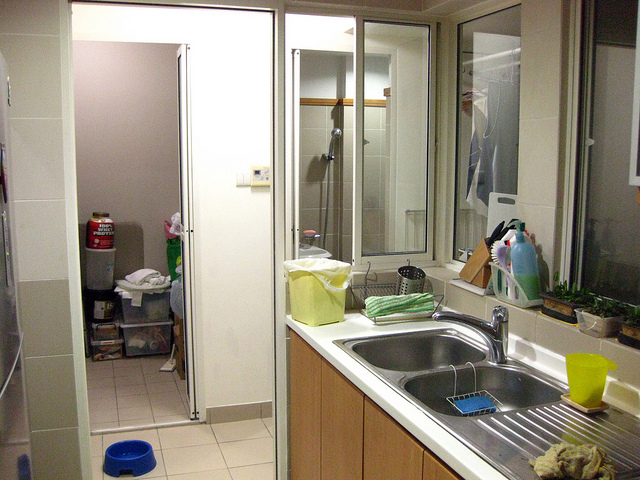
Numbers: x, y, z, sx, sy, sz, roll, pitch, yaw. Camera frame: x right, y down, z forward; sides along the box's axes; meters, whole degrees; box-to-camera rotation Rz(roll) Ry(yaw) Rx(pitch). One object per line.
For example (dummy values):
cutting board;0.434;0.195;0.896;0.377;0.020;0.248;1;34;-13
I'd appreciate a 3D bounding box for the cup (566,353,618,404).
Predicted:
cup;0.876;0.446;1.694;0.169;0.172;0.148;2;0;-2

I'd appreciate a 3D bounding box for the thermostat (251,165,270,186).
thermostat;-0.408;-0.434;3.378;0.120;0.132;0.013;-4;9;-18

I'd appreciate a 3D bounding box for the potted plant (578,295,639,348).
potted plant;1.016;0.290;1.768;0.183;0.072;0.125;14;3;-22

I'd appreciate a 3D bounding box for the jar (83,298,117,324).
jar;-2.047;0.642;4.663;0.237;0.247;0.246;2;-1;0

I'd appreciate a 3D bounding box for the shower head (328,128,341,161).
shower head;0.114;-0.759;3.990;0.104;0.252;0.073;-1;10;-1

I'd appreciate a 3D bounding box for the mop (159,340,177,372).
mop;-1.345;1.032;4.448;0.144;0.197;0.219;-3;11;-9

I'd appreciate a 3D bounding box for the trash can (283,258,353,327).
trash can;-0.018;0.258;2.516;0.319;0.311;0.343;4;1;-22

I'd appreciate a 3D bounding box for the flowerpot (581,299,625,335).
flowerpot;1.014;0.245;1.805;0.104;0.106;0.147;5;6;38

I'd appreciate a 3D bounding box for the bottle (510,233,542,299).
bottle;0.867;0.109;2.114;0.111;0.270;0.072;-2;10;-5

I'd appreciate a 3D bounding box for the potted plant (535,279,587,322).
potted plant;0.987;0.255;2.012;0.206;0.093;0.161;1;11;-39
